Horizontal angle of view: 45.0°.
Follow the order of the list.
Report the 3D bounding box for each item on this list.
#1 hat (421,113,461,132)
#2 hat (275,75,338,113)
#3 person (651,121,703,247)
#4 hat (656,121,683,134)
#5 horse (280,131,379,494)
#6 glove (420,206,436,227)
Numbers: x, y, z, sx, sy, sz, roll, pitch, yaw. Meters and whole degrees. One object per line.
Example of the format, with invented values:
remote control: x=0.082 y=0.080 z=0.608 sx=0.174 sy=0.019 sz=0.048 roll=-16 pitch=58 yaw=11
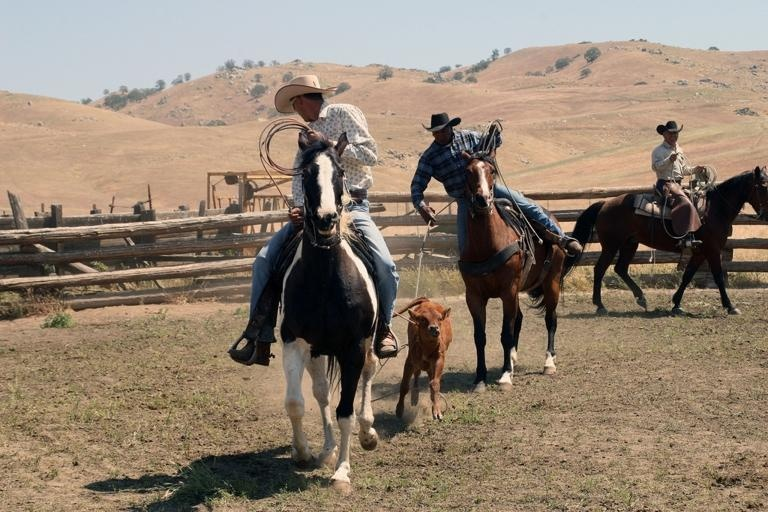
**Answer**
hat: x=1.108 y=-2.512 z=17.349 sx=0.702 sy=0.279 sz=0.769 roll=-11 pitch=2 yaw=24
hat: x=-1.395 y=-2.627 z=15.041 sx=0.850 sy=0.274 sz=0.767 roll=-15 pitch=-5 yaw=19
person: x=6.413 y=-1.592 z=20.599 sx=0.908 sy=2.799 sz=1.459 roll=7 pitch=11 yaw=40
hat: x=6.164 y=-2.808 z=20.187 sx=0.434 sy=0.291 sz=1.108 roll=3 pitch=7 yaw=18
horse: x=-0.870 y=0.817 z=14.192 sx=1.492 sy=5.390 sz=1.073 roll=-1 pitch=9 yaw=-6
glove: x=0.767 y=-0.759 z=17.226 sx=0.285 sy=0.402 sz=0.637 roll=1 pitch=7 yaw=5
